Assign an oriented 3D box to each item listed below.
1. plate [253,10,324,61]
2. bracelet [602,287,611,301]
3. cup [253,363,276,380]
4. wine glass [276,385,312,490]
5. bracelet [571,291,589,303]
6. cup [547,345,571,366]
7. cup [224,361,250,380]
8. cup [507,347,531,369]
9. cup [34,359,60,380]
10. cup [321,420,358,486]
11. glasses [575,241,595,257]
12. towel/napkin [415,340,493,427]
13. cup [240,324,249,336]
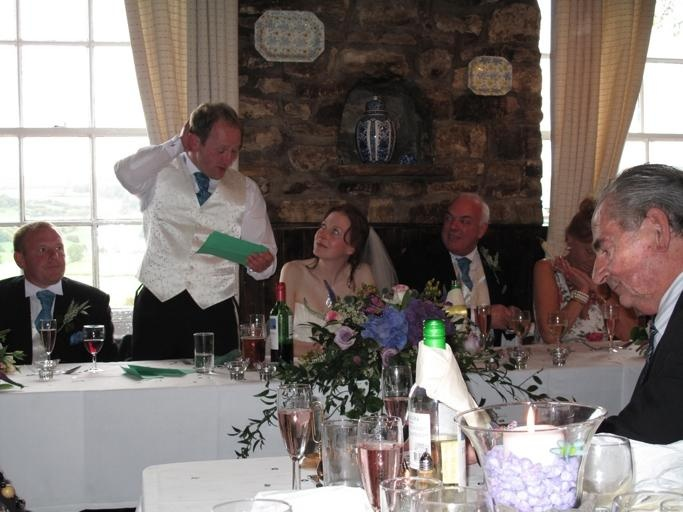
[{"bbox_3d":[-0.377,-1.565,4.866,0.497,0.369,0.034,-1,4,-8],"label":"plate"},{"bbox_3d":[1.477,0.214,3.820,0.073,0.068,0.073,-3,7,26],"label":"bracelet"},{"bbox_3d":[-0.300,0.445,2.646,0.071,0.049,0.069,1,-3,0],"label":"cup"},{"bbox_3d":[-0.114,0.455,1.706,0.087,0.261,0.227,-1,4,-10],"label":"wine glass"},{"bbox_3d":[1.298,0.218,3.724,0.075,0.053,0.074,1,1,-38],"label":"bracelet"},{"bbox_3d":[0.955,0.444,3.008,0.083,0.079,0.082,0,-8,0],"label":"cup"},{"bbox_3d":[-0.402,0.450,2.673,0.070,0.053,0.069,0,-5,0],"label":"cup"},{"bbox_3d":[0.759,0.434,2.906,0.093,0.060,0.115,2,37,9],"label":"cup"},{"bbox_3d":[-1.181,0.456,2.739,0.097,0.065,0.080,-1,-7,0],"label":"cup"},{"bbox_3d":[-0.003,0.476,1.607,0.088,0.170,0.131,0,4,0],"label":"cup"},{"bbox_3d":[1.310,-0.038,3.680,0.061,0.081,0.081,-4,-15,-28],"label":"glasses"},{"bbox_3d":[0.222,0.264,1.493,0.137,0.143,0.079,0,4,7],"label":"towel/napkin"},{"bbox_3d":[-0.396,0.304,2.778,0.047,0.044,0.041,1,-3,-11],"label":"cup"}]
